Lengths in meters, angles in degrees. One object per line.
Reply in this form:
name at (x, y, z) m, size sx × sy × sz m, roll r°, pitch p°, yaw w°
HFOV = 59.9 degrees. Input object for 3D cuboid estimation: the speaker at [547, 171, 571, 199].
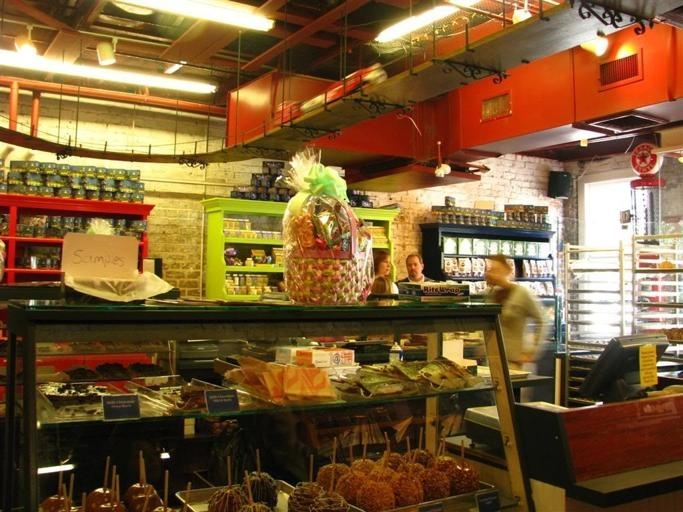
speaker at (3.679, -1.197, 10.058) m, size 0.439 × 0.450 × 0.276 m, roll 1°, pitch -3°, yaw -39°

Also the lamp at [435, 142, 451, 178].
lamp at (1.105, -1.061, 6.507) m, size 0.180 × 0.422 × 0.649 m, roll -1°, pitch -2°, yaw 10°

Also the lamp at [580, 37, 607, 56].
lamp at (2.109, -1.756, 4.992) m, size 0.239 × 0.131 × 0.166 m, roll -2°, pitch -2°, yaw 34°

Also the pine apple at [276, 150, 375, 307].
pine apple at (-0.033, -0.095, 2.173) m, size 0.375 × 0.466 × 0.313 m, roll 8°, pitch 14°, yaw 23°

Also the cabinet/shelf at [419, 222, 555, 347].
cabinet/shelf at (2.263, 0.472, 9.100) m, size 2.361 × 1.729 × 0.669 m, roll 4°, pitch 0°, yaw -29°

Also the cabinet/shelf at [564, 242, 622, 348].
cabinet/shelf at (3.494, 0.574, 8.233) m, size 0.899 × 1.205 × 0.900 m, roll -2°, pitch 5°, yaw 25°

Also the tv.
tv at (1.223, 0.467, 2.464) m, size 0.474 × 0.259 × 0.168 m, roll 0°, pitch -2°, yaw -20°

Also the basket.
basket at (-0.035, -0.017, 2.128) m, size 0.330 × 0.377 × 0.193 m, roll -1°, pitch -2°, yaw -8°
